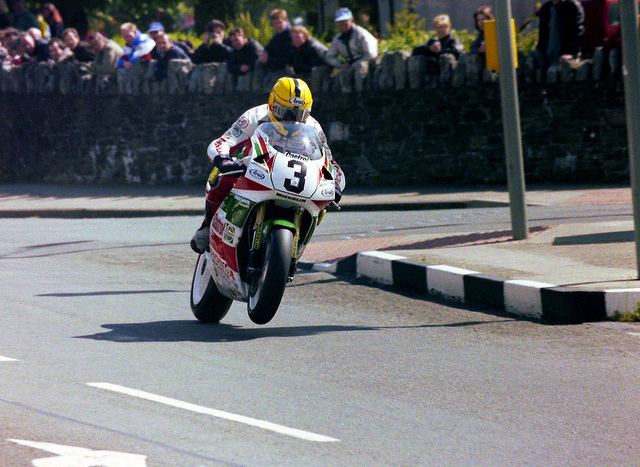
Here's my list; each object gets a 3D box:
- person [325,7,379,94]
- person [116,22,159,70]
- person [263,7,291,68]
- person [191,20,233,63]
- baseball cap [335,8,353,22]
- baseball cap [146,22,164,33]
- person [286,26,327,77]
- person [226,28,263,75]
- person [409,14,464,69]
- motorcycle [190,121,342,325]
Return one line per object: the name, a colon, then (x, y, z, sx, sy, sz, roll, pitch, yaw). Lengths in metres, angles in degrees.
person: (0.543, -3.370, 24.560, 1.002, 1.569, 1.293, -3, 10, 3)
person: (-3.690, -3.750, 26.585, 0.858, 0.898, 1.158, -5, 9, -7)
person: (-0.858, -3.722, 25.256, 0.568, 1.105, 1.611, -4, 9, -2)
person: (-2.127, -3.791, 26.240, 0.535, 0.801, 0.899, -11, 12, -37)
baseball cap: (0.391, -3.960, 24.049, 0.270, 0.236, 0.548, -3, 9, 0)
baseball cap: (-3.259, -4.023, 25.914, 0.328, 0.147, 0.210, -4, 7, 22)
person: (-0.291, -3.390, 24.667, 0.782, 0.923, 0.571, -4, 10, 0)
person: (-1.486, -3.517, 25.576, 0.679, 0.886, 0.852, -5, 10, -9)
person: (2.158, -3.425, 23.746, 0.878, 0.932, 1.108, -5, 9, -9)
motorcycle: (-0.616, -0.055, 14.204, 1.588, 2.236, 1.093, -3, 10, 2)
